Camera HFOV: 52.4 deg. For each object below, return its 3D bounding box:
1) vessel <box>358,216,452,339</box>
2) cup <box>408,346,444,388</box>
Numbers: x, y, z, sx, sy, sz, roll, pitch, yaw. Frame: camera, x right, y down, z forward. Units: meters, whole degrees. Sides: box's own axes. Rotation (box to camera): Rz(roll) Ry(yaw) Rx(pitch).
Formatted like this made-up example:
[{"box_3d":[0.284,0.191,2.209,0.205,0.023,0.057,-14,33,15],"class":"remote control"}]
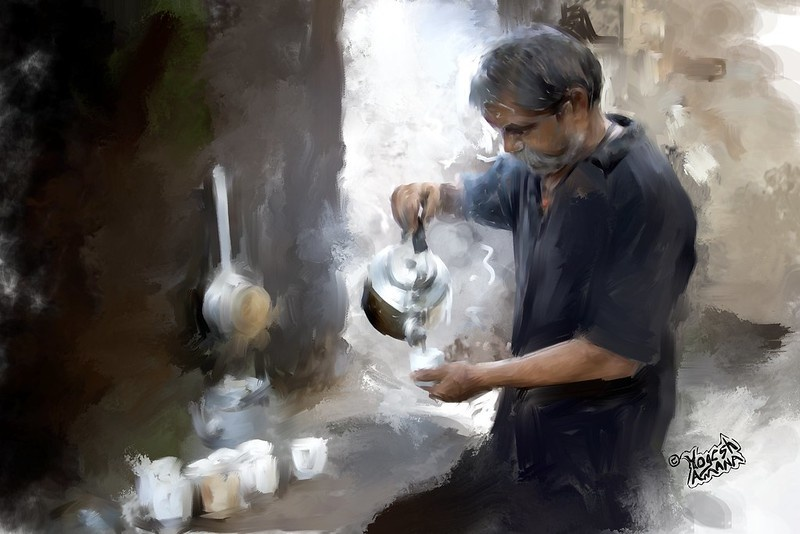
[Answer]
[{"box_3d":[0.022,0.117,2.494,0.270,0.244,0.504,4,33,-3],"class":"vessel"},{"box_3d":[0.081,0.297,2.621,0.106,0.128,0.121,-5,47,-3],"class":"cup"}]
